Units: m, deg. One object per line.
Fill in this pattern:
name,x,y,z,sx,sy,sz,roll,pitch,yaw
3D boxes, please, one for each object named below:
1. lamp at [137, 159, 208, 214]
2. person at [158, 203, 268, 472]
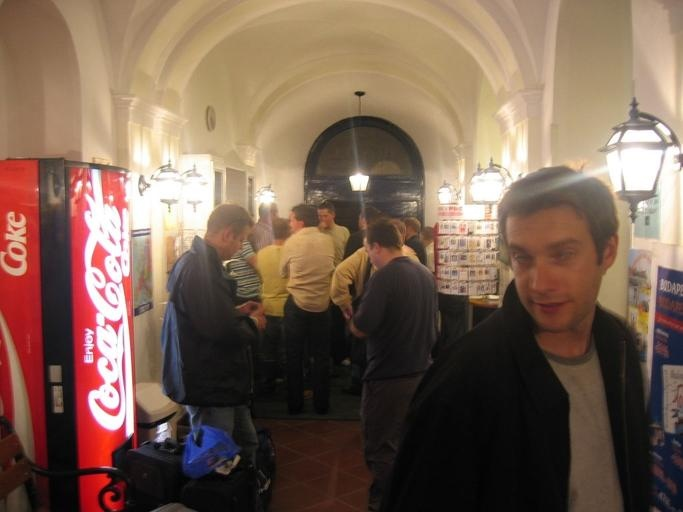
lamp,-2.020,-0.967,6.699,0.461,0.607,0.926,2,5,9
person,-1.038,0.574,4.530,0.731,1.989,0.489,-1,2,-19
